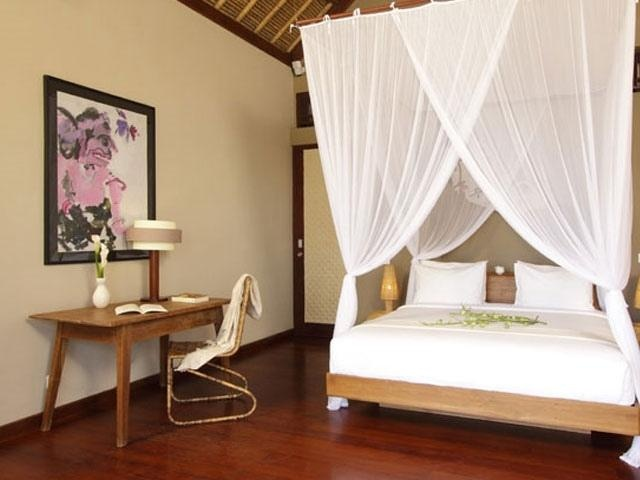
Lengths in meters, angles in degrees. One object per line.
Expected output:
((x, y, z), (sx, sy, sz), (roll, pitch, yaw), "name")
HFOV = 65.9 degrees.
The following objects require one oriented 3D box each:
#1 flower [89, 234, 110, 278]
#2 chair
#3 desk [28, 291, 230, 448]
((-1.815, 0.146, 4.083), (0.132, 0.370, 0.318), (-2, 4, -24), "flower")
((-0.937, 0.887, 4.217), (0.832, 1.172, 0.764), (1, -4, -30), "chair")
((-1.452, 1.008, 4.148), (0.801, 0.971, 1.474), (2, 2, 24), "desk")
